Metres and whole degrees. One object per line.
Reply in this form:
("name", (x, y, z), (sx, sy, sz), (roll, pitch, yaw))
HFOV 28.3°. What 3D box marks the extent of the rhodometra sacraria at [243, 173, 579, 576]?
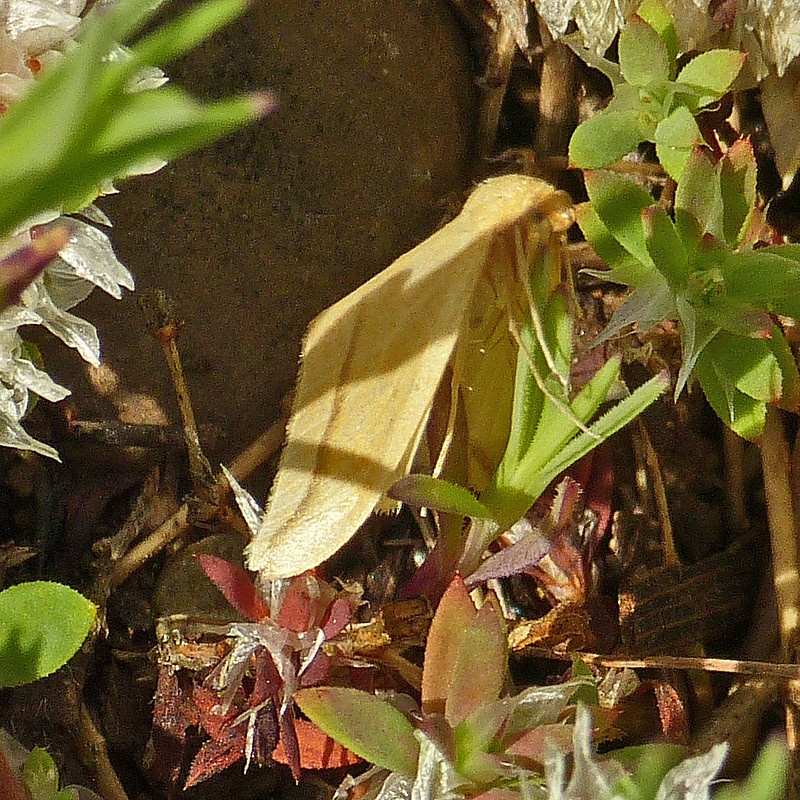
("rhodometra sacraria", (0.007, 0.006, 0.936), (0.083, 0.262, 0.131), (28, 10, -39))
